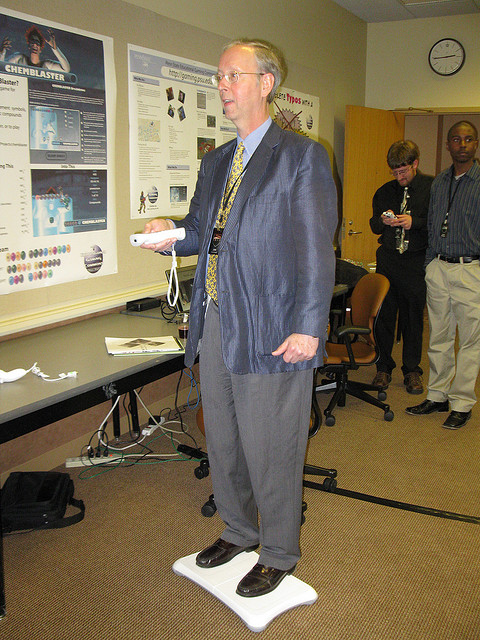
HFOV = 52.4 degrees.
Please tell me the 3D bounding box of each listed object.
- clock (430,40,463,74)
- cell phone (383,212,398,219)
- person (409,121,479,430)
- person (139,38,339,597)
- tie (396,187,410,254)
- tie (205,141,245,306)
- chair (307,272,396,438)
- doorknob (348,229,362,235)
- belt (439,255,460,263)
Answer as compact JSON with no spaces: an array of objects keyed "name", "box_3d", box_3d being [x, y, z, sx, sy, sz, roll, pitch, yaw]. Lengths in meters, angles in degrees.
[{"name":"clock","box_3d":[2.260,-2.866,5.299,0.367,0.392,0.052,6,23,34]},{"name":"cell phone","box_3d":[0.998,-0.695,3.235,0.047,0.035,0.119,-19,34,-15]},{"name":"person","box_3d":[1.305,-0.245,2.982,0.292,1.795,0.416,-3,8,-25]},{"name":"person","box_3d":[0.047,0.048,1.331,0.270,1.515,0.516,-4,8,-32]},{"name":"tie","box_3d":[1.169,-0.716,3.492,0.086,0.469,0.211,2,7,20]},{"name":"tie","box_3d":[-0.078,-0.251,1.305,0.069,0.436,0.053,-5,36,-17]},{"name":"chair","box_3d":[0.662,0.159,3.167,0.572,0.870,0.612,-4,12,-3]},{"name":"doorknob","box_3d":[1.211,-0.921,5.147,0.154,0.059,0.039,-4,11,-38]},{"name":"belt","box_3d":[1.243,-0.361,2.897,0.030,0.044,0.132,-3,8,-20]}]
